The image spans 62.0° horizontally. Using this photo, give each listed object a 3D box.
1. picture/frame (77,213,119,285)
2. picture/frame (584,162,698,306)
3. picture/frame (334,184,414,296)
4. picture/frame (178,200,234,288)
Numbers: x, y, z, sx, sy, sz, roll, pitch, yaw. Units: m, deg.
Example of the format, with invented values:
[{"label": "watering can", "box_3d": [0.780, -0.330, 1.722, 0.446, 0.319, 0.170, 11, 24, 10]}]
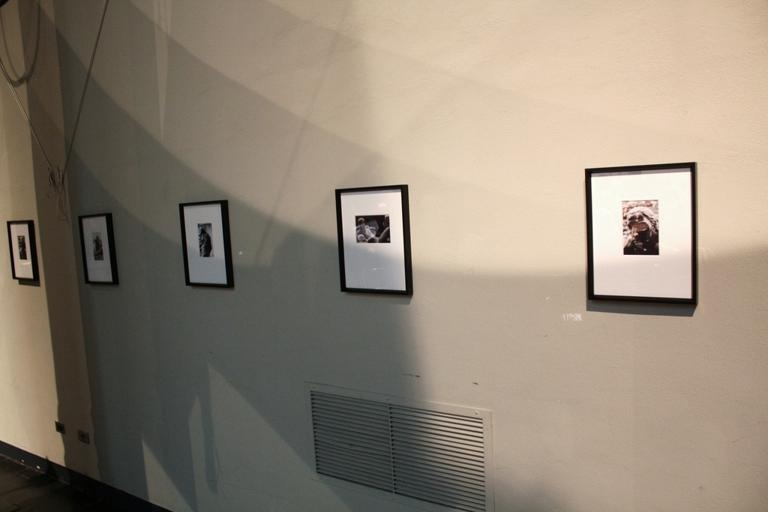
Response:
[{"label": "picture/frame", "box_3d": [-1.730, -0.049, 3.852, 0.378, 0.435, 0.019, -1, 5, 41]}, {"label": "picture/frame", "box_3d": [1.032, -0.097, 2.511, 0.573, 0.746, 0.031, 0, 4, 25]}, {"label": "picture/frame", "box_3d": [-0.047, -0.076, 2.935, 0.372, 0.327, 0.080, 2, 1, 28]}, {"label": "picture/frame", "box_3d": [-0.937, -0.075, 3.399, 0.451, 0.524, 0.070, 3, 8, 32]}]
